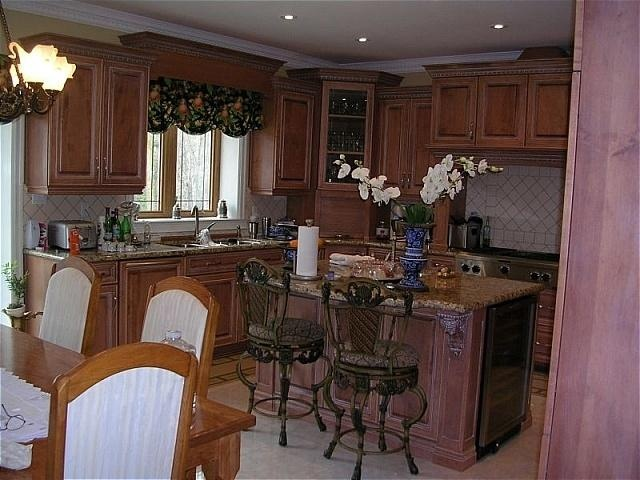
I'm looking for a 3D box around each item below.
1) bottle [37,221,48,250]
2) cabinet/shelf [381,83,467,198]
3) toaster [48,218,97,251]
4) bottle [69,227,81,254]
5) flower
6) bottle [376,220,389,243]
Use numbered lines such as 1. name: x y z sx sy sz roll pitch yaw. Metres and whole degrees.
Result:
1. bottle: -2.421 -0.034 4.236 0.068 0.232 0.122 2 5 1
2. cabinet/shelf: 1.080 -1.134 5.870 0.760 1.221 0.383 2 5 8
3. toaster: -2.214 -0.036 4.314 0.301 0.233 0.303 5 6 31
4. bottle: -2.084 0.012 4.101 0.087 0.210 0.158 -1 6 -28
5. flower: 0.644 -0.288 3.215 1.130 0.502 0.481 -1 10 31
6. bottle: 0.766 -0.119 6.007 0.225 0.315 0.211 0 -3 0
